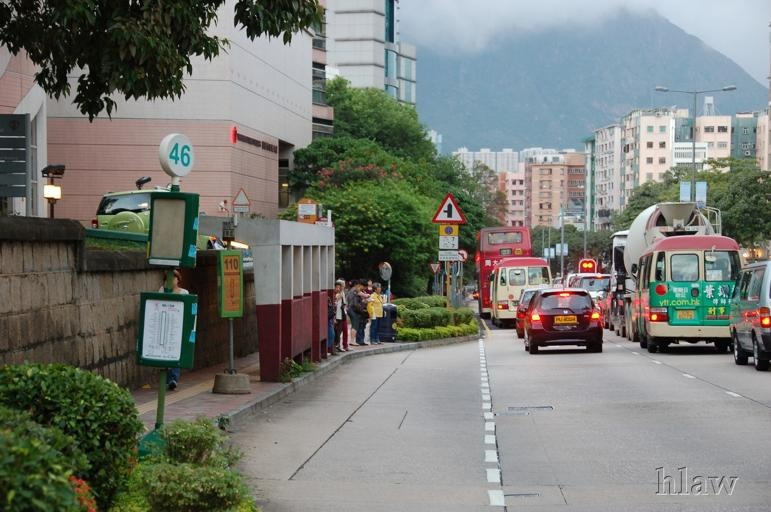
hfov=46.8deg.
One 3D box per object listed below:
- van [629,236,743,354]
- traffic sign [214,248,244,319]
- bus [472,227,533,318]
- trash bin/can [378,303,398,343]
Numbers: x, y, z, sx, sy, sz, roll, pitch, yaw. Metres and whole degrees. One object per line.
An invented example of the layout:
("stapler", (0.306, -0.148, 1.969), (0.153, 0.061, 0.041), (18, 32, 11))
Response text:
("van", (9.267, 1.127, 27.629), (2.209, 3.023, 6.179), (0, -1, 8))
("traffic sign", (-3.133, 0.545, 17.919), (0.489, 1.430, 0.514), (1, -1, -9))
("bus", (7.671, 0.451, 60.342), (3.018, 4.588, 13.927), (0, 0, 7))
("trash bin/can", (0.161, 2.528, 33.786), (1.160, 1.284, 0.918), (-1, 6, 13))
